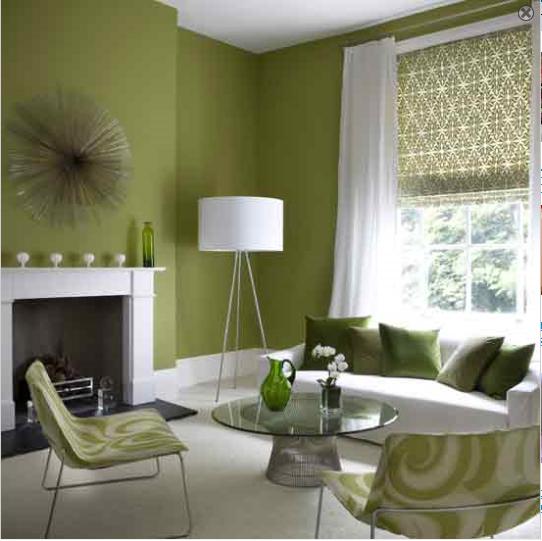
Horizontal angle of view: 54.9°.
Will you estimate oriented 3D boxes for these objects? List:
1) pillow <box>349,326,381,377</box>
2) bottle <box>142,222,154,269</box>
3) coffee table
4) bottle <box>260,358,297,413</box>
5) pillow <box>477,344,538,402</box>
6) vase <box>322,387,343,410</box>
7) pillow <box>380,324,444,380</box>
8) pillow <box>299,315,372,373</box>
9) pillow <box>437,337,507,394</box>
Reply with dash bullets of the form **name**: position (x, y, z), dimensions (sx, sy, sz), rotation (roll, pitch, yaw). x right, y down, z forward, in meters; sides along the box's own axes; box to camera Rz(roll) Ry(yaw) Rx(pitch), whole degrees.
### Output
- **pillow**: position (0.707, 0.625, 3.927), dimensions (0.249, 0.332, 0.119), rotation (-11, -26, 25)
- **bottle**: position (-1.069, -0.230, 4.514), dimensions (0.104, 0.408, 0.251), rotation (0, 1, -13)
- **coffee table**: position (0.173, 0.858, 2.663), dimensions (0.546, 0.241, 0.601), rotation (-2, 0, -12)
- **bottle**: position (0.037, 0.604, 2.763), dimensions (0.178, 0.289, 0.293), rotation (0, 1, 1)
- **pillow**: position (1.479, 0.623, 3.226), dimensions (0.280, 0.334, 0.250), rotation (0, 1, -2)
- **vase**: position (0.313, 0.664, 2.740), dimensions (0.096, 0.129, 0.107), rotation (-1, 0, -9)
- **pillow**: position (1.002, 0.605, 3.746), dimensions (0.278, 0.302, 0.118), rotation (4, -23, 1)
- **pillow**: position (0.504, 0.567, 3.961), dimensions (0.312, 0.350, 0.128), rotation (-3, -22, 18)
- **pillow**: position (1.291, 0.600, 3.362), dimensions (0.100, 0.354, 0.345), rotation (25, -1, -7)
